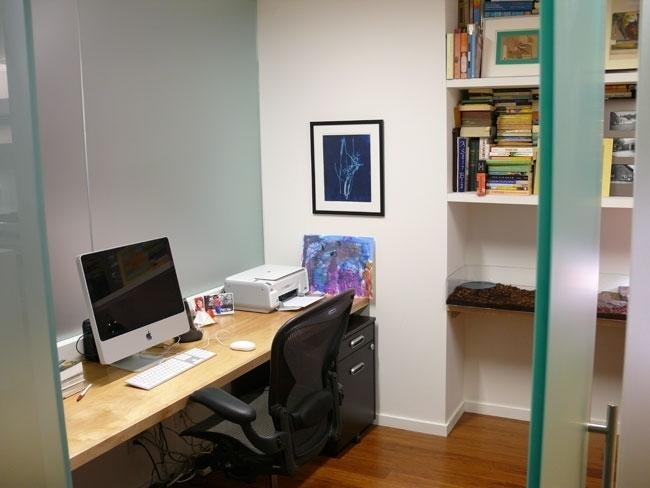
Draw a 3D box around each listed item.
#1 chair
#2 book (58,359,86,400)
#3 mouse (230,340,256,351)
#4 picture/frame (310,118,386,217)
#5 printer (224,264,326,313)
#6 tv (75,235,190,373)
[{"bbox_3d":[-0.291,0.806,2.532,0.751,1.206,0.811,3,10,6],"label":"chair"},{"bbox_3d":[-1.164,0.599,2.285,0.096,0.121,0.238,-7,15,-27],"label":"book"},{"bbox_3d":[-0.437,0.548,2.657,0.081,0.021,0.066,3,8,7],"label":"mouse"},{"bbox_3d":[0.182,-0.560,3.471,0.634,0.813,0.034,1,8,16],"label":"picture/frame"},{"bbox_3d":[-0.423,0.291,3.266,0.373,0.159,0.389,5,13,26],"label":"printer"},{"bbox_3d":[-0.977,0.316,2.458,0.196,0.601,0.536,9,14,26],"label":"tv"}]
